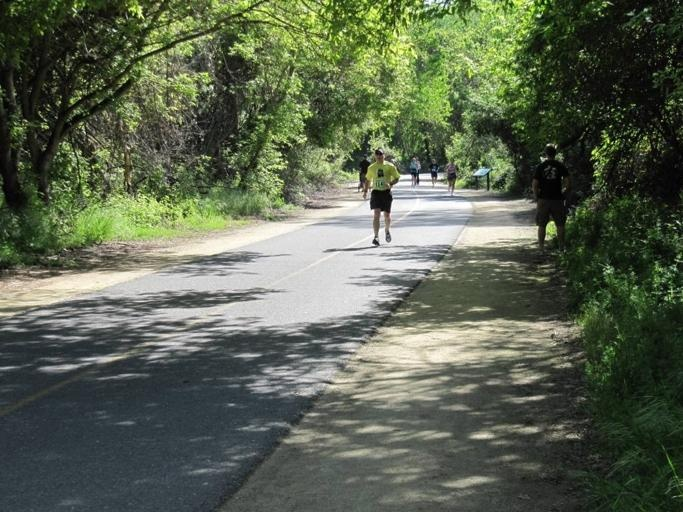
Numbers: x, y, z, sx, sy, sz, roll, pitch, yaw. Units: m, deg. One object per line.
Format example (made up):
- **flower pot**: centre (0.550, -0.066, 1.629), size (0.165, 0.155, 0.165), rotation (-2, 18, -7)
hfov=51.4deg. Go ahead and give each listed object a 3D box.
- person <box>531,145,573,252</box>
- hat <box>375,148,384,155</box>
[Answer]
- **person**: centre (4.697, -1.310, 15.920), size (0.759, 2.373, 1.044), rotation (0, 7, 15)
- **hat**: centre (0.958, -2.712, 18.374), size (0.153, 0.187, 0.193), rotation (1, -6, 6)
